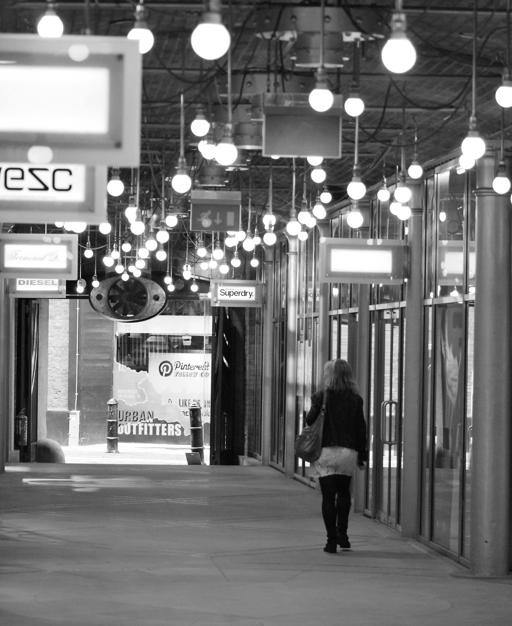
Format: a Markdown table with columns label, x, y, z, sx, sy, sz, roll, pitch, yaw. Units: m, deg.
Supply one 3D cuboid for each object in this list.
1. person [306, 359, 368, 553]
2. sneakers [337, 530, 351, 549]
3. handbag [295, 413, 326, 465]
| label | x | y | z | sx | sy | sz | roll | pitch | yaw |
| --- | --- | --- | --- | --- | --- | --- | --- | --- | --- |
| person | 0.626 | 1.111 | 9.708 | 0.438 | 1.477 | 0.631 | 0 | -3 | 8 |
| sneakers | 0.691 | 1.799 | 10.052 | 0.056 | 0.139 | 0.184 | 0 | 1 | -1 |
| handbag | 0.388 | 0.949 | 9.526 | 0.188 | 0.388 | 0.287 | 1 | -3 | -25 |
